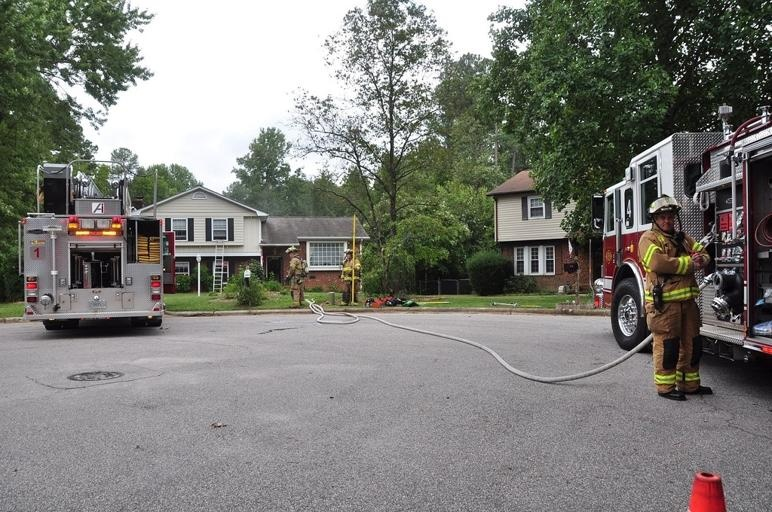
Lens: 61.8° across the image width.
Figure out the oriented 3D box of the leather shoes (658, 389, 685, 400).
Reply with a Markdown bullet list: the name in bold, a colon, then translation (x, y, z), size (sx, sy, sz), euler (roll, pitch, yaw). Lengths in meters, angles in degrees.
- **leather shoes**: translation (4.158, 1.991, 9.340), size (0.155, 0.116, 0.285), euler (0, -10, -43)

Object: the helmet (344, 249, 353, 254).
- **helmet**: translation (-1.357, -0.204, 24.104), size (0.327, 0.164, 0.432), euler (-1, -1, -10)

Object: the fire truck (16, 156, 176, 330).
- **fire truck**: translation (-8.099, -0.172, 19.435), size (4.462, 4.729, 8.776), euler (1, 3, -12)

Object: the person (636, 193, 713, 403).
- **person**: translation (4.318, 0.569, 9.529), size (0.833, 2.894, 0.801), euler (-3, 6, -18)
